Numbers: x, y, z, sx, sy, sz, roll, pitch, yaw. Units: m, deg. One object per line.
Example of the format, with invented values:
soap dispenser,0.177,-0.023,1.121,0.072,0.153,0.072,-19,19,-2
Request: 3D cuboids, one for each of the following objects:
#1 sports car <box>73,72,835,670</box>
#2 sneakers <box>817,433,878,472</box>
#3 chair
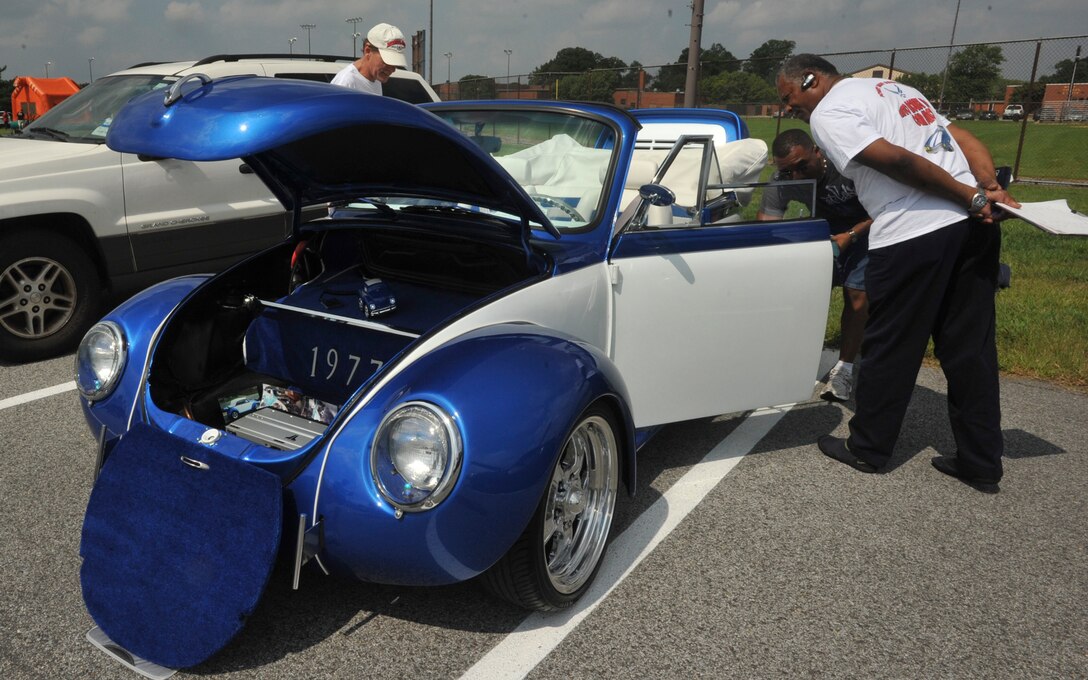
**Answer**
sports car,-0.454,0.042,4.561,2.640,2.073,4.122,15,26,38
sneakers,2.051,0.769,5.282,0.155,0.160,0.425,-43,57,-13
chair,0.298,-1.024,5.045,0.810,0.374,0.794,10,19,24
